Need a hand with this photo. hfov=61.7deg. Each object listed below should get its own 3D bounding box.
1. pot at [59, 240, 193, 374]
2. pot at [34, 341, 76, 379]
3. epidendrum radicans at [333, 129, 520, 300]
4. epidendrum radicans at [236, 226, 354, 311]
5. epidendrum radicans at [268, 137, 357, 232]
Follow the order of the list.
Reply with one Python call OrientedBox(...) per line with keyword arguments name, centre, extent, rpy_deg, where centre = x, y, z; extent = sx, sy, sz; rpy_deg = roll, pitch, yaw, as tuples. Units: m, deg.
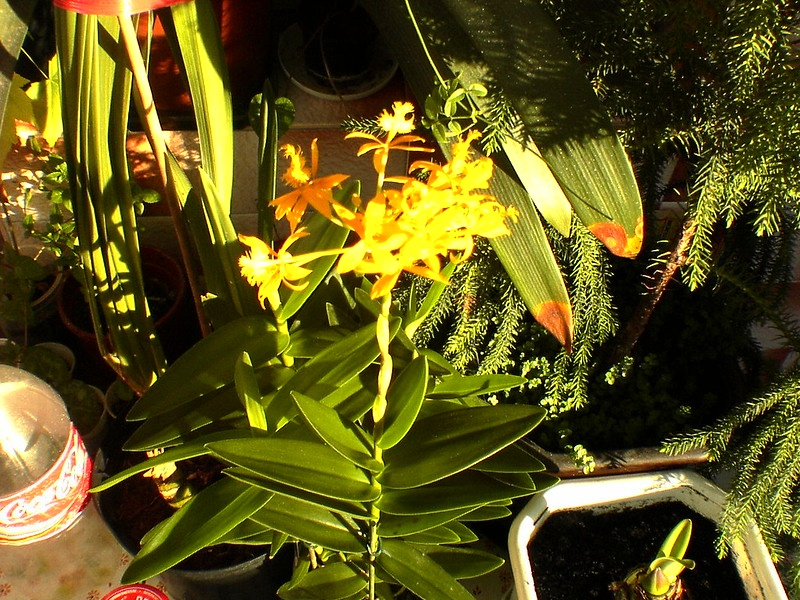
OrientedBox(name="pot", centre=(-0.557, 0.034, 1.449), extent=(0.261, 0.200, 0.295), rpy_deg=(0, 64, -5))
OrientedBox(name="pot", centre=(-0.724, 0.123, 1.413), extent=(0.069, 0.056, 0.081), rpy_deg=(6, 67, -15))
OrientedBox(name="epidendrum radicans", centre=(0.028, -0.075, 0.744), extent=(0.176, 0.076, 0.181), rpy_deg=(-9, 78, -2))
OrientedBox(name="epidendrum radicans", centre=(-0.105, -0.039, 0.767), extent=(0.135, 0.048, 0.097), rpy_deg=(-13, 63, -4))
OrientedBox(name="epidendrum radicans", centre=(-0.106, -0.130, 0.757), extent=(0.088, 0.087, 0.105), rpy_deg=(-23, 3, -22))
